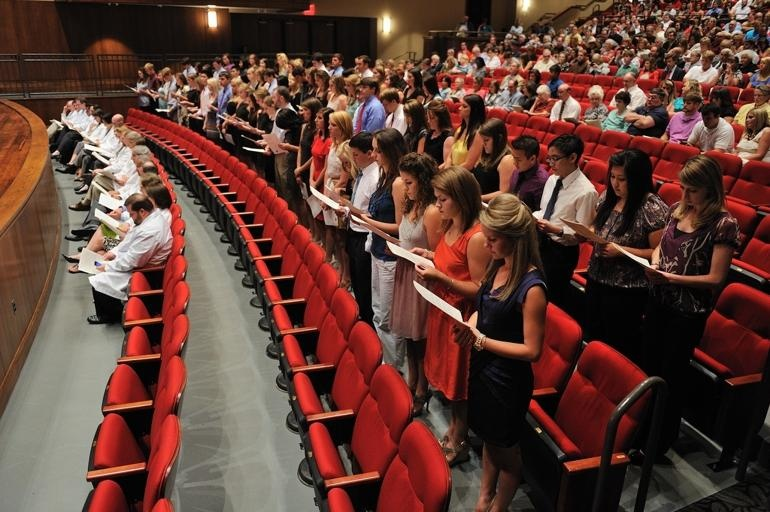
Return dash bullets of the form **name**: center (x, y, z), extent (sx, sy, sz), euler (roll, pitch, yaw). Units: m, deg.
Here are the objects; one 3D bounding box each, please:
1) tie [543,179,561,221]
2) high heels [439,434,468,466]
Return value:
- **tie**: center (1.334, -0.458, 4.031), extent (0.084, 0.313, 0.132), euler (19, 31, 37)
- **high heels**: center (0.514, 1.405, 3.730), extent (0.305, 0.130, 0.163), euler (-7, 10, -26)
